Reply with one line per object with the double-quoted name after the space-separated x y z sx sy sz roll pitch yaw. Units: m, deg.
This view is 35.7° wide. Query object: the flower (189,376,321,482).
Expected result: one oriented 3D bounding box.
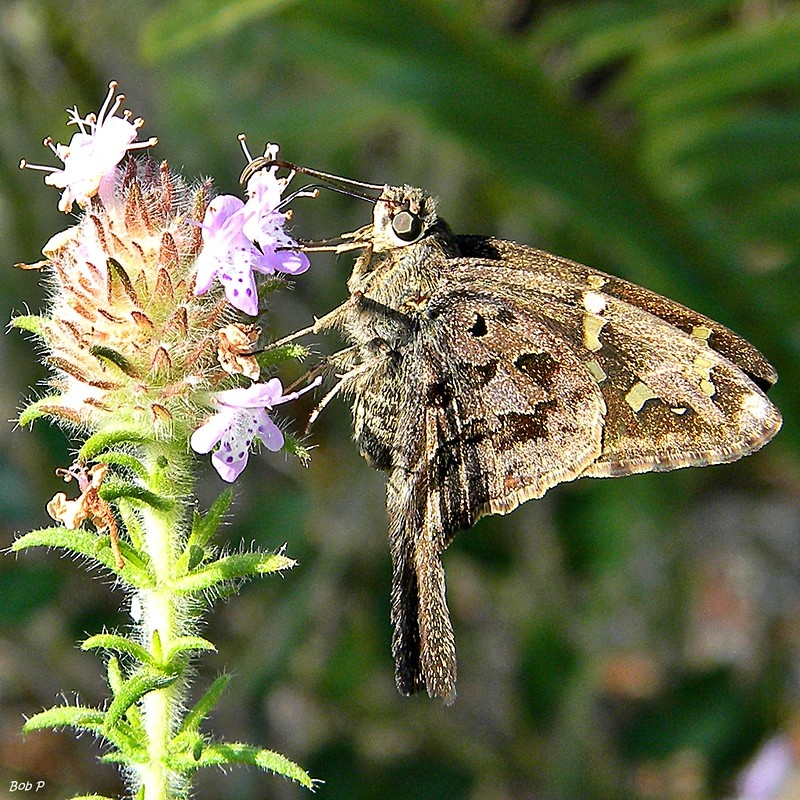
-0.540 0.095 4.291 0.451 0.246 0.163 -35 3 -43 "flower"
